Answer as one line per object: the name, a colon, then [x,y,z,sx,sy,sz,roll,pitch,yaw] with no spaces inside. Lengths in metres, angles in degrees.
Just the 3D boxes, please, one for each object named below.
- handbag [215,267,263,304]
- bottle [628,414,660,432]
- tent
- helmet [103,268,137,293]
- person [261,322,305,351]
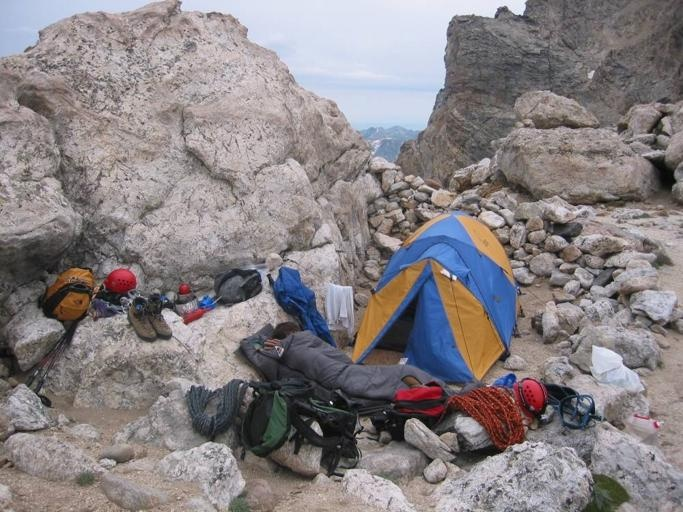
handbag: [-2.028,0.598,11.690,0.948,0.545,0.678,-2,16,-21]
bottle: [4.723,2.564,9.188,0.309,0.132,0.252,9,-7,10]
tent: [2.397,0.983,12.721,2.627,1.926,3.643,7,35,25]
helmet: [-3.953,0.370,10.461,0.385,0.412,0.486,3,24,-45]
person: [-1.114,1.420,11.152,0.475,0.282,1.284,6,15,8]
